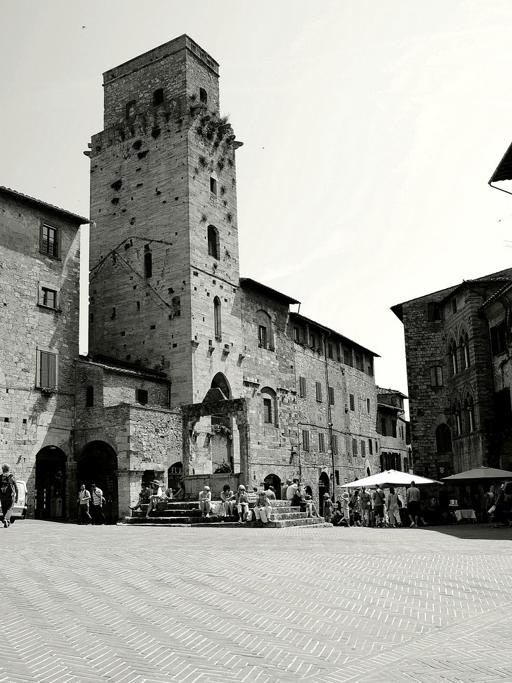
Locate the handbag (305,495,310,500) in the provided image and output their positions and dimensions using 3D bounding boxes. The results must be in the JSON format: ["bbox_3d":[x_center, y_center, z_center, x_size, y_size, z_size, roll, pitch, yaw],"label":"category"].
[{"bbox_3d":[1.942,5.850,25.099,0.250,0.179,0.343,-2,-6,4],"label":"handbag"}]

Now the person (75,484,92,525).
[{"bbox_3d":[-5.631,5.363,22.202,0.412,1.300,2.054,2,-16,-14],"label":"person"}]

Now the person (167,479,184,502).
[{"bbox_3d":[-2.973,5.532,24.804,0.690,0.772,0.393,-20,-35,29],"label":"person"}]

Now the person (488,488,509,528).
[{"bbox_3d":[7.126,4.875,19.784,0.498,1.099,2.180,-6,-16,18],"label":"person"}]

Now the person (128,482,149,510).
[{"bbox_3d":[-4.089,5.559,23.750,0.640,1.015,0.658,-1,-21,1],"label":"person"}]

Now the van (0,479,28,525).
[{"bbox_3d":[-7.119,4.764,20.056,0.911,1.210,1.937,1,-2,-18],"label":"van"}]

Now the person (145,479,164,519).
[{"bbox_3d":[-3.350,5.602,22.903,0.736,1.425,0.617,18,-61,-17],"label":"person"}]

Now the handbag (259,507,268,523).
[{"bbox_3d":[0.209,4.866,18.866,0.251,0.731,0.244,-4,-30,1],"label":"handbag"}]

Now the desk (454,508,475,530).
[{"bbox_3d":[7.166,6.076,23.058,0.458,0.323,0.520,-3,-6,-3],"label":"desk"}]

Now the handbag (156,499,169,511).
[{"bbox_3d":[-3.124,5.459,22.371,0.286,0.303,0.271,4,-20,-11],"label":"handbag"}]
